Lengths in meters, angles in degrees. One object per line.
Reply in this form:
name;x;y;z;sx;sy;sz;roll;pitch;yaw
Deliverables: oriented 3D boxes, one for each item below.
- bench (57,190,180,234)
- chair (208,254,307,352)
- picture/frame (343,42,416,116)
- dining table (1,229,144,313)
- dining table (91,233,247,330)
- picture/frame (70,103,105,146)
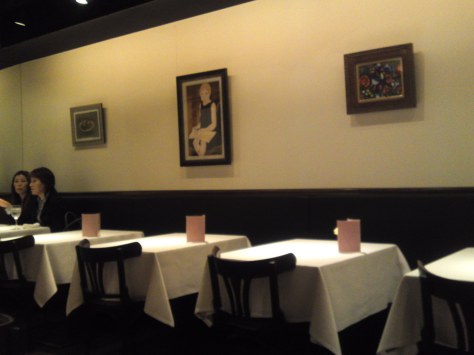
bench;-1.381;0.434;4.891;1.792;0.445;0.103;1;7;27
chair;0.074;0.778;2.475;0.565;0.626;0.256;1;7;23
picture/frame;1.369;-0.925;3.712;0.625;0.677;0.070;-2;0;29
dining table;-1.561;0.728;3.609;0.591;0.281;1.050;-2;-2;30
dining table;-0.652;0.698;3.119;0.793;0.356;0.815;-5;-3;38
picture/frame;-2.025;-0.726;5.401;0.529;0.569;0.076;1;-2;27
